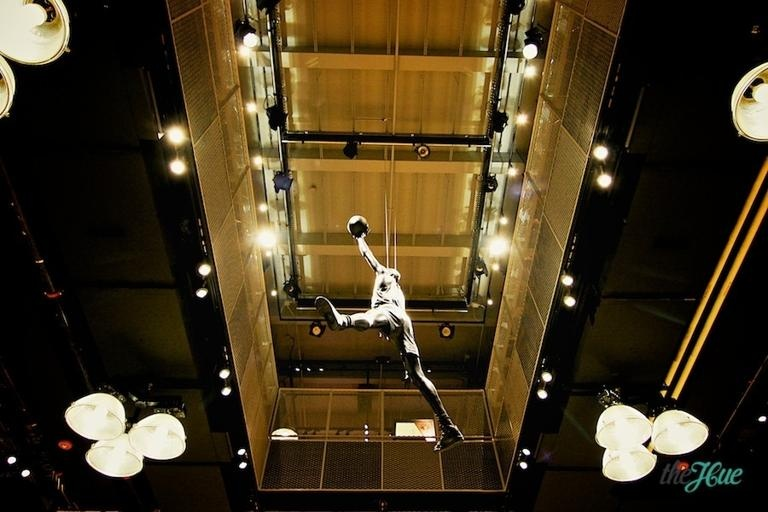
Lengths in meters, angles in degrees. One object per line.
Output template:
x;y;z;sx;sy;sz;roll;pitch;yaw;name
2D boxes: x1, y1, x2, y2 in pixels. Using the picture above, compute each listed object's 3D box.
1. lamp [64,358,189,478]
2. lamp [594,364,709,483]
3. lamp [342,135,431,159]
-3.638;2.460;9.002;1.505;0.665;1.384;2;-69;-1;lamp
3.880;2.547;9.175;1.449;0.793;0.802;-10;-91;40;lamp
0.022;-2.013;11.680;1.101;0.617;0.329;-8;-107;-13;lamp
